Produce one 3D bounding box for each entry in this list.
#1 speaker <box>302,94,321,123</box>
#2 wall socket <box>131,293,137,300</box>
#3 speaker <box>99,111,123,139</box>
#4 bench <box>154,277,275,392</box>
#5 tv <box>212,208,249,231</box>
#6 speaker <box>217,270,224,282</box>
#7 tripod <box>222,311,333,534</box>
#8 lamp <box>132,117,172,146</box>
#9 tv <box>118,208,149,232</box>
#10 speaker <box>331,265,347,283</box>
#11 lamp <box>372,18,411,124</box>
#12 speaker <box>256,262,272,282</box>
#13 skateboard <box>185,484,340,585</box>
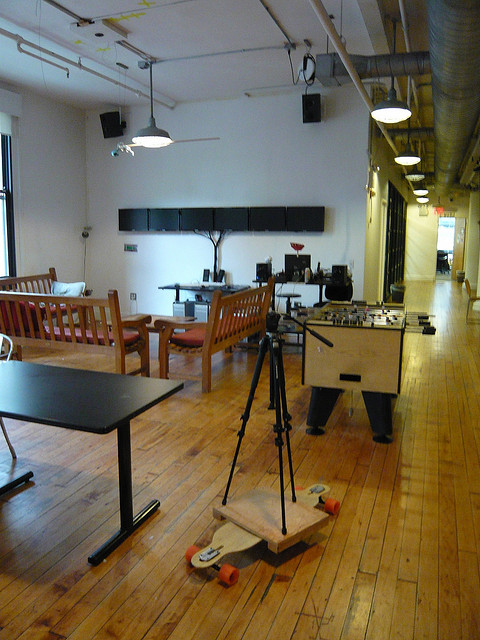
[{"bbox_3d":[1.042,-3.097,6.687,0.264,0.352,0.137,0,7,10],"label":"speaker"},{"bbox_3d":[-1.978,-0.434,8.436,0.078,0.215,0.096,3,9,12],"label":"wall socket"},{"bbox_3d":[-2.257,-3.394,7.955,0.330,0.450,0.119,6,18,12],"label":"speaker"},{"bbox_3d":[-0.183,0.064,5.064,0.580,1.111,1.631,8,12,23],"label":"bench"},{"bbox_3d":[-0.168,-1.640,7.428,0.643,0.362,0.086,2,7,26],"label":"tv"},{"bbox_3d":[-0.328,-0.730,7.663,0.071,0.244,0.061,10,4,-26],"label":"speaker"},{"bbox_3d":[0.242,0.650,2.982,0.472,1.589,0.532,9,21,27],"label":"tripod"},{"bbox_3d":[-0.977,-2.012,5.133,0.281,0.273,0.344,-1,3,5],"label":"lamp"},{"bbox_3d":[-1.938,-1.800,8.237,0.726,0.424,0.119,1,7,23],"label":"tv"},{"bbox_3d":[1.362,-0.633,6.344,0.140,0.255,0.311,1,6,16],"label":"speaker"},{"bbox_3d":[1.352,-2.276,4.058,0.299,1.088,0.955,1,8,20],"label":"lamp"},{"bbox_3d":[0.359,-0.706,6.860,0.151,0.296,0.322,1,2,13],"label":"speaker"},{"bbox_3d":[0.117,0.914,2.084,0.313,0.155,0.928,6,12,43],"label":"skateboard"}]
